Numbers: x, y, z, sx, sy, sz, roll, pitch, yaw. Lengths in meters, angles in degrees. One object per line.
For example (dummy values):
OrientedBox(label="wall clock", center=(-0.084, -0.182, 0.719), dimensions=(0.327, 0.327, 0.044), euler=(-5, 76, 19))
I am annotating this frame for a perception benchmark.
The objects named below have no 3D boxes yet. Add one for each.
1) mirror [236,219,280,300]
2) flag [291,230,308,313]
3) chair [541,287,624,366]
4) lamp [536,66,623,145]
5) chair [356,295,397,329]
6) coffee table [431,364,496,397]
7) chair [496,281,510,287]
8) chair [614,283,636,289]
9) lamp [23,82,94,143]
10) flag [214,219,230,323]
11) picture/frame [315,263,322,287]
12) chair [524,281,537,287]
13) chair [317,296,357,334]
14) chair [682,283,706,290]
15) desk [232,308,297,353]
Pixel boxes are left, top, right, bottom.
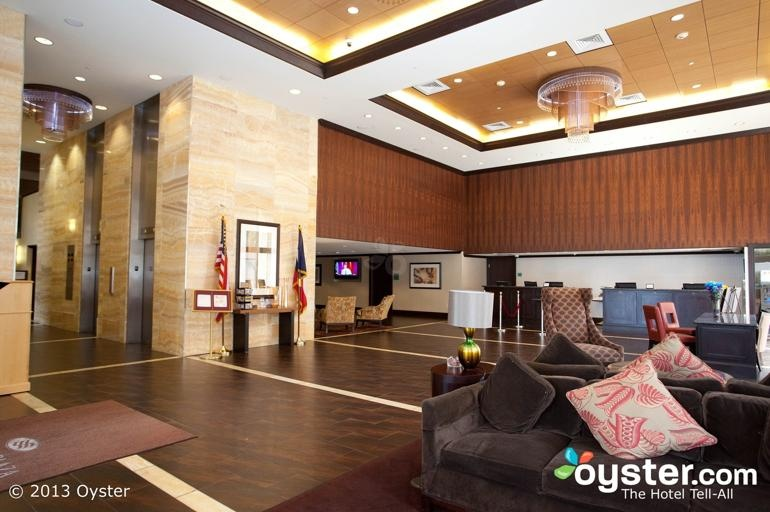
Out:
OrientedBox(label="mirror", center=(-2.918, 0.046, 10.775), dimensions=(1.257, 1.788, 0.378), euler=(-7, 11, -44))
OrientedBox(label="flag", center=(-2.106, 0.397, 11.485), dimensions=(0.347, 2.158, 0.718), euler=(-1, 8, -10))
OrientedBox(label="chair", center=(3.352, 1.280, 7.955), dimensions=(1.080, 1.293, 1.254), euler=(4, 2, -9))
OrientedBox(label="lamp", center=(4.405, -3.571, 10.733), dimensions=(1.728, 1.012, 1.582), euler=(2, -10, -5))
OrientedBox(label="chair", center=(-0.355, 1.818, 14.978), dimensions=(1.061, 1.073, 1.343), euler=(2, 8, 13))
OrientedBox(label="coffee table", center=(0.960, 1.491, 5.788), dimensions=(0.546, 0.289, 0.536), euler=(0, 0, -44))
OrientedBox(label="chair", center=(4.153, 0.967, 16.435), dimensions=(0.305, 0.220, 0.249), euler=(1, -22, 24))
OrientedBox(label="chair", center=(7.725, 0.956, 14.979), dimensions=(0.568, 0.177, 0.290), euler=(4, 8, 30))
OrientedBox(label="lamp", center=(-7.444, -3.238, 10.689), dimensions=(1.354, 0.770, 1.273), euler=(-1, 1, -26))
OrientedBox(label="flag", center=(-3.573, 0.310, 10.152), dimensions=(0.285, 2.262, 0.587), euler=(-2, 9, -18))
OrientedBox(label="picture/frame", center=(-2.962, 0.846, 20.980), dimensions=(0.163, 1.002, 0.467), euler=(-6, 10, -39))
OrientedBox(label="chair", center=(5.246, 1.050, 16.827), dimensions=(0.423, 0.257, 0.609), euler=(2, 7, 14))
OrientedBox(label="chair", center=(-1.496, 1.720, 13.913), dimensions=(1.054, 1.001, 1.114), euler=(4, -7, -43))
OrientedBox(label="chair", center=(9.278, 0.937, 13.998), dimensions=(0.531, 0.180, 0.356), euler=(4, 8, 27))
OrientedBox(label="desk", center=(-2.806, 1.710, 10.649), dimensions=(0.330, 0.572, 1.123), euler=(0, -1, 42))
